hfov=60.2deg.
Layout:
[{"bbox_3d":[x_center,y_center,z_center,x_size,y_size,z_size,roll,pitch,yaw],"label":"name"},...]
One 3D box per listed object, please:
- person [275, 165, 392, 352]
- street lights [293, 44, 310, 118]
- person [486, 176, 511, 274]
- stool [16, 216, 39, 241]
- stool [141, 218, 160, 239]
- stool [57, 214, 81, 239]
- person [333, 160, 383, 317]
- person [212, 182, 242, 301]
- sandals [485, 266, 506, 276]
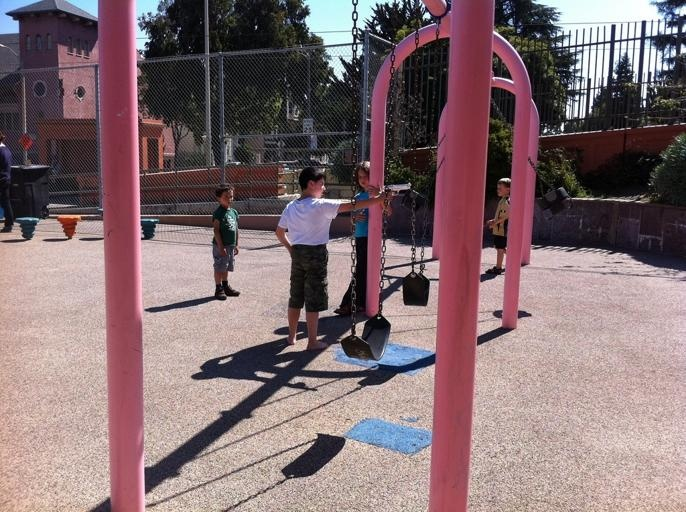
[{"bbox_3d":[-0.172,0.020,6.017,1.008,1.807,0.408,4,9,20],"label":"person"},{"bbox_3d":[-0.835,-3.841,13.317,0.280,1.434,0.209,2,9,15],"label":"street lights"},{"bbox_3d":[2.609,-0.479,10.005,0.373,1.566,0.547,6,2,7],"label":"person"},{"bbox_3d":[-6.528,-0.561,12.304,0.443,0.546,0.484,8,15,12],"label":"stool"},{"bbox_3d":[-4.271,-0.582,13.021,0.311,0.453,0.447,-4,10,-20],"label":"stool"},{"bbox_3d":[-5.969,-0.622,12.883,0.570,0.462,0.402,9,13,43],"label":"stool"},{"bbox_3d":[0.123,-0.190,7.341,0.493,1.828,0.535,3,4,-4],"label":"person"},{"bbox_3d":[-1.581,-0.191,7.981,0.338,1.461,0.573,-2,9,-13],"label":"person"},{"bbox_3d":[2.603,0.266,10.041,0.361,0.193,0.156,8,15,14],"label":"sandals"}]
